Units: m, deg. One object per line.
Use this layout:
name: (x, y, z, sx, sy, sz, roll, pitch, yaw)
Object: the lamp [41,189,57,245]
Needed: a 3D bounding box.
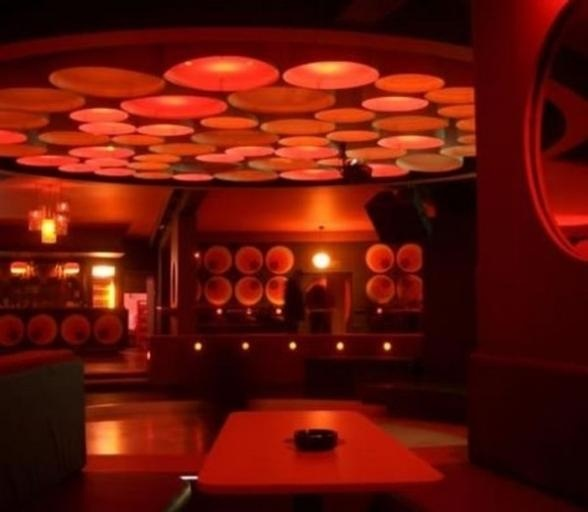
lamp: (-4.161, -0.646, 10.253, 0.268, 0.826, 1.496, 1, -3, -23)
